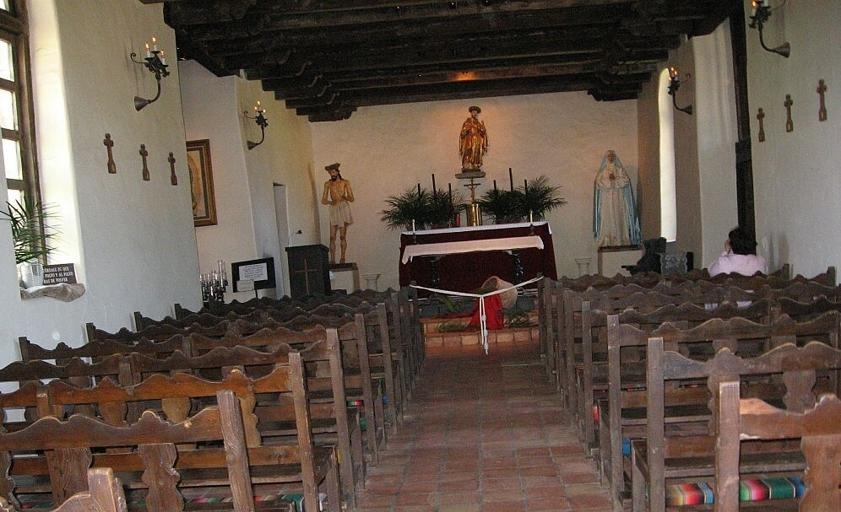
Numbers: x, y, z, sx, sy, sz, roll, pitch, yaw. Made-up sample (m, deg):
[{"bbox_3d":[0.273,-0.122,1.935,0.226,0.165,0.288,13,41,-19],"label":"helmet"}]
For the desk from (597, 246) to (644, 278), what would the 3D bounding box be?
[{"bbox_3d":[3.502,0.096,13.648,0.590,0.569,0.323,-2,5,4],"label":"desk"}]

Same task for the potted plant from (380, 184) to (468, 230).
[{"bbox_3d":[0.150,-0.920,15.151,1.228,0.540,1.202,-1,-1,-17],"label":"potted plant"}]

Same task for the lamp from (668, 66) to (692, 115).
[{"bbox_3d":[3.954,-2.525,11.905,0.313,0.755,1.356,-1,13,18],"label":"lamp"}]

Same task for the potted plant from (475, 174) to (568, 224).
[{"bbox_3d":[1.911,-1.023,15.046,1.178,0.767,1.307,-3,-3,8],"label":"potted plant"}]

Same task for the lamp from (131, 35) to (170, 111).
[{"bbox_3d":[-3.274,-2.219,9.475,0.428,0.885,0.913,-9,13,-13],"label":"lamp"}]

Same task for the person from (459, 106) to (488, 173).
[{"bbox_3d":[0.971,-2.189,14.641,0.525,1.213,0.595,-5,13,3],"label":"person"}]

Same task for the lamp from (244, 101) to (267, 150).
[{"bbox_3d":[-2.637,-2.108,12.605,0.342,0.721,1.068,-8,12,-9],"label":"lamp"}]
